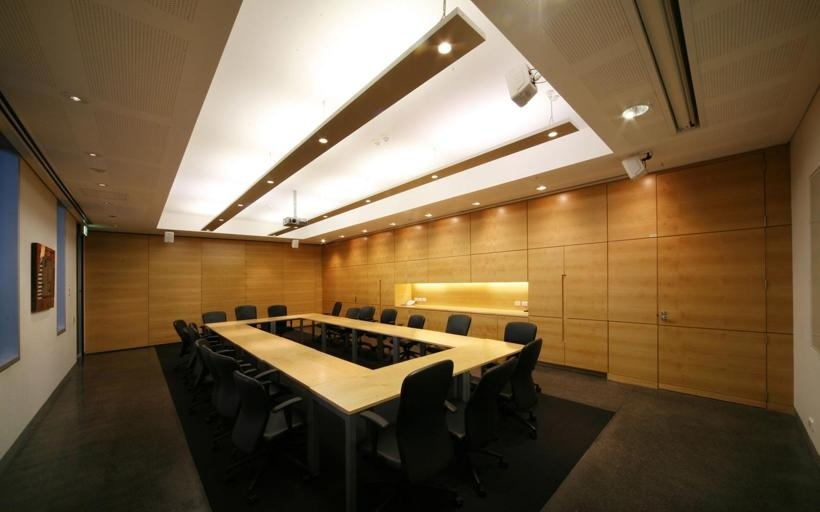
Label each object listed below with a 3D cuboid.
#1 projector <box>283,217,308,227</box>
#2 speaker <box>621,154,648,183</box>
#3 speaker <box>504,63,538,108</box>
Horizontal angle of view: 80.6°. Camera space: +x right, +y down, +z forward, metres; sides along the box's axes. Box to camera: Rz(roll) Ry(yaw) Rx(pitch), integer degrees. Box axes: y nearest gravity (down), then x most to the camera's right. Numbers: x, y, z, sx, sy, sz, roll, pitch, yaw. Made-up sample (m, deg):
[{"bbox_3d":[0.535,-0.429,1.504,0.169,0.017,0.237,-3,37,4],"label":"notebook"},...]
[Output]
[{"bbox_3d":[-2.390,-0.713,10.072,0.455,0.150,0.559,1,-4,-14],"label":"projector"},{"bbox_3d":[3.503,-1.390,7.413,0.500,0.360,0.294,3,-5,-42],"label":"speaker"},{"bbox_3d":[1.466,-2.319,6.431,0.386,0.360,0.665,34,9,8],"label":"speaker"}]
